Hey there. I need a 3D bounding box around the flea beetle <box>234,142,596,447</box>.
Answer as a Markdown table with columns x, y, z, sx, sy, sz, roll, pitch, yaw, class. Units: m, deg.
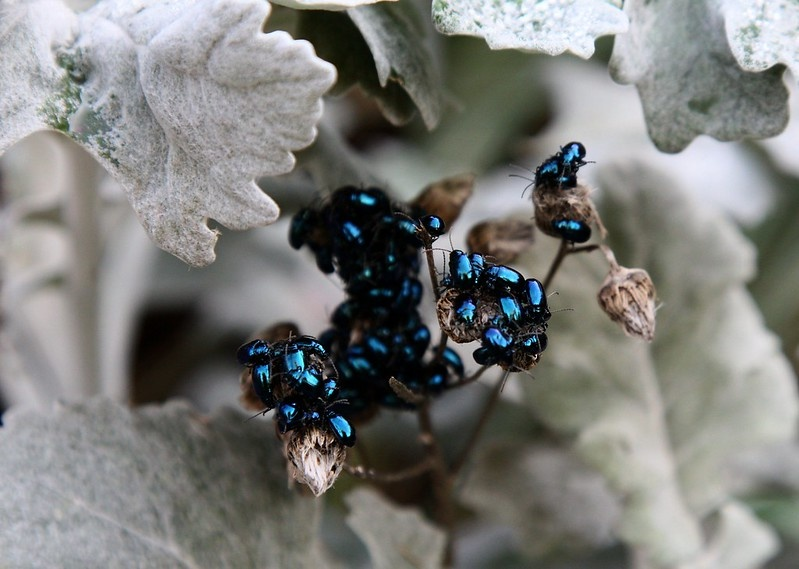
| x | y | z | sx | sy | sz | roll | pitch | yaw | class |
| --- | --- | --- | --- | --- | --- | --- | --- | --- | --- |
| 0.010 | -0.004 | 1.105 | 0.356 | 0.129 | 0.279 | -32 | 94 | -2 | flea beetle |
